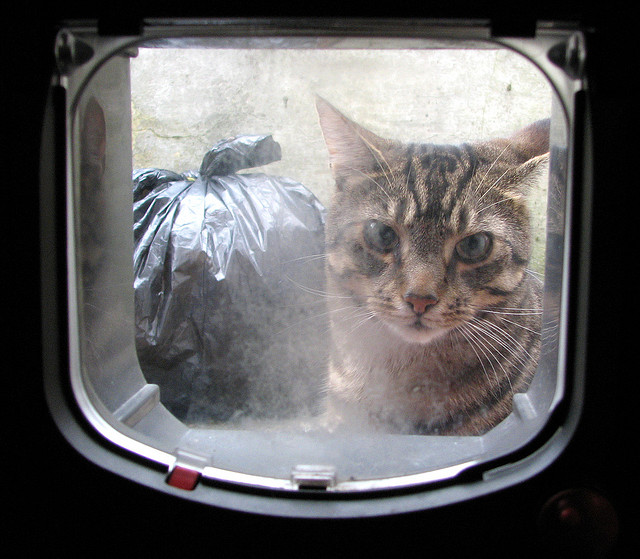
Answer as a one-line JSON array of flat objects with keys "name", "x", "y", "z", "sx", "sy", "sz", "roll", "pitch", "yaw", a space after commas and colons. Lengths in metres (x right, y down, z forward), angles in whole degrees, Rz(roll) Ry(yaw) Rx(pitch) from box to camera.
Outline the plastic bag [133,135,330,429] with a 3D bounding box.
[{"name": "plastic bag", "x": -0.211, "y": 0.017, "z": 1.489, "sx": 0.451, "sy": 0.594, "sz": 0.210, "roll": -2, "pitch": -6, "yaw": 5}]

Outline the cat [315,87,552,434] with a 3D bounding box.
[{"name": "cat", "x": 0.248, "y": -0.121, "z": 1.884, "sx": 0.543, "sy": 0.894, "sz": 0.946, "roll": 1, "pitch": 24, "yaw": 0}]
